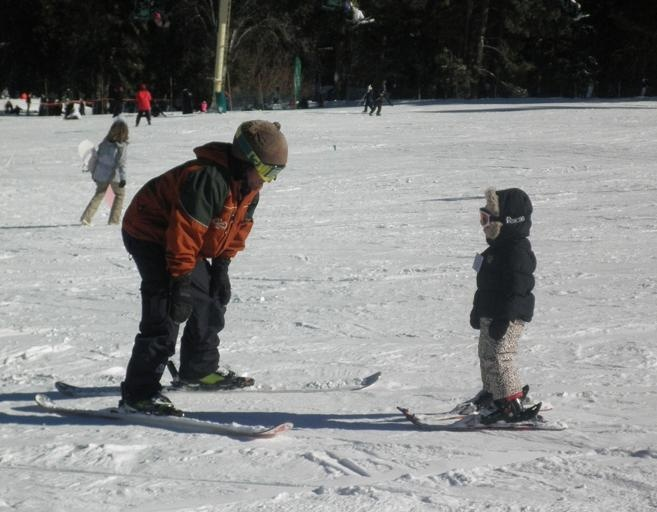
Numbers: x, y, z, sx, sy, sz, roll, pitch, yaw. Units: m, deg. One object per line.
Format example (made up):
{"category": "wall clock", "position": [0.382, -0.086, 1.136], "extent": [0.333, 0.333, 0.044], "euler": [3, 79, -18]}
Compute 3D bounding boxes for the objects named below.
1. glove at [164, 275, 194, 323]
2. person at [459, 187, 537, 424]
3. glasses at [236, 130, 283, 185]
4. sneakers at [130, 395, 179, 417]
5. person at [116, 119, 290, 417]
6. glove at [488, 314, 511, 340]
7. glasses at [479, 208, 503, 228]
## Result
{"category": "glove", "position": [-0.859, 0.245, 5.152], "extent": [0.177, 0.249, 0.101], "euler": [0, 8, -35]}
{"category": "person", "position": [1.042, 0.289, 5.200], "extent": [0.431, 1.357, 0.328], "euler": [2, 7, 2]}
{"category": "glasses", "position": [-0.423, -0.561, 5.157], "extent": [0.124, 0.325, 0.236], "euler": [-40, 6, 10]}
{"category": "sneakers", "position": [-1.040, 0.888, 5.271], "extent": [0.208, 0.064, 0.140], "euler": [2, 0, 8]}
{"category": "person", "position": [-0.799, 0.060, 5.350], "extent": [0.872, 1.744, 0.710], "euler": [-1, 8, -25]}
{"category": "glove", "position": [0.984, 0.411, 5.092], "extent": [0.114, 0.132, 0.079], "euler": [2, 7, 1]}
{"category": "glasses", "position": [0.954, -0.226, 5.183], "extent": [0.120, 0.061, 0.107], "euler": [1, 2, -7]}
